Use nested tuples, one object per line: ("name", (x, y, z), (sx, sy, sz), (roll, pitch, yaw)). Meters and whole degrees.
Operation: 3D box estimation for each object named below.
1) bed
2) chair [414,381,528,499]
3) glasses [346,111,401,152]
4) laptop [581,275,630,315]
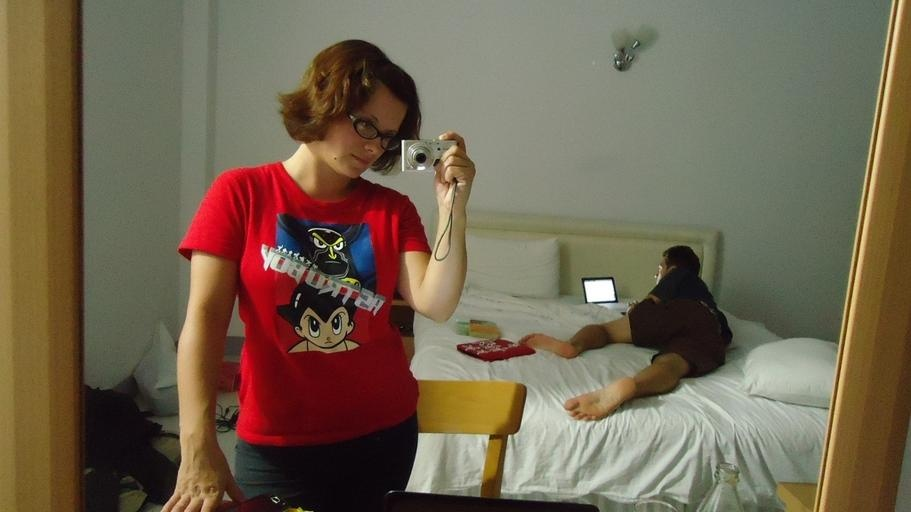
("bed", (0.571, 0.325, 2.588), (1.128, 0.938, 0.595), (3, -8, 1))
("chair", (0.112, 0.521, 2.159), (0.435, 0.392, 0.317), (0, -17, 9))
("glasses", (-0.199, -0.299, 1.707), (0.092, 0.027, 0.089), (20, 14, -41))
("laptop", (0.479, 0.119, 2.247), (0.140, 0.088, 0.116), (0, 14, -3))
